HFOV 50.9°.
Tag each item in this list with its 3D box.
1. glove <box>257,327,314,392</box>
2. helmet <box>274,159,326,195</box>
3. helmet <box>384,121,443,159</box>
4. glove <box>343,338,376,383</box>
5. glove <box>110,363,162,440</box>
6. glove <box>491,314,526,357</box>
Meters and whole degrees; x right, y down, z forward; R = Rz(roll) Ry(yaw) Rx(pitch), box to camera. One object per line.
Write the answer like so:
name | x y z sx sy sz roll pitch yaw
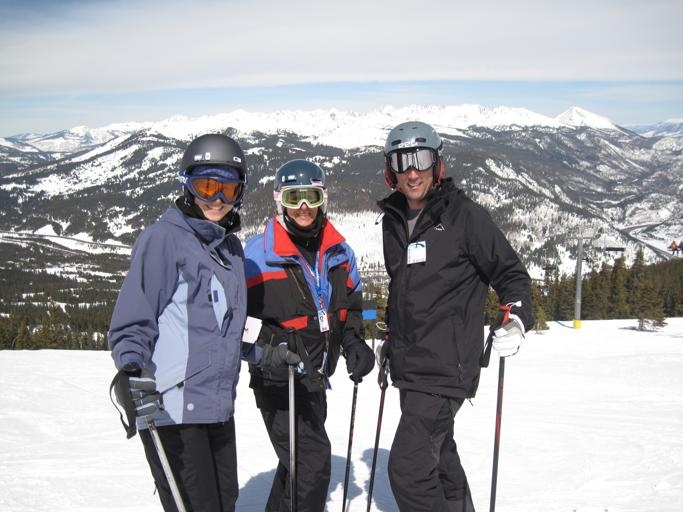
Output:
glove | -0.600 1.166 8.333 0.583 0.657 0.259 5 8 13
helmet | -0.538 -0.931 8.607 0.417 0.378 0.453 0 -3 -21
helmet | 0.827 -1.396 8.475 0.398 0.584 0.423 -1 8 10
glove | 0.182 1.236 8.653 0.373 0.228 0.522 22 48 -4
glove | -1.988 1.418 7.213 0.631 0.709 0.280 -2 1 24
glove | 1.839 0.898 8.019 0.450 0.360 0.186 -36 26 -33
